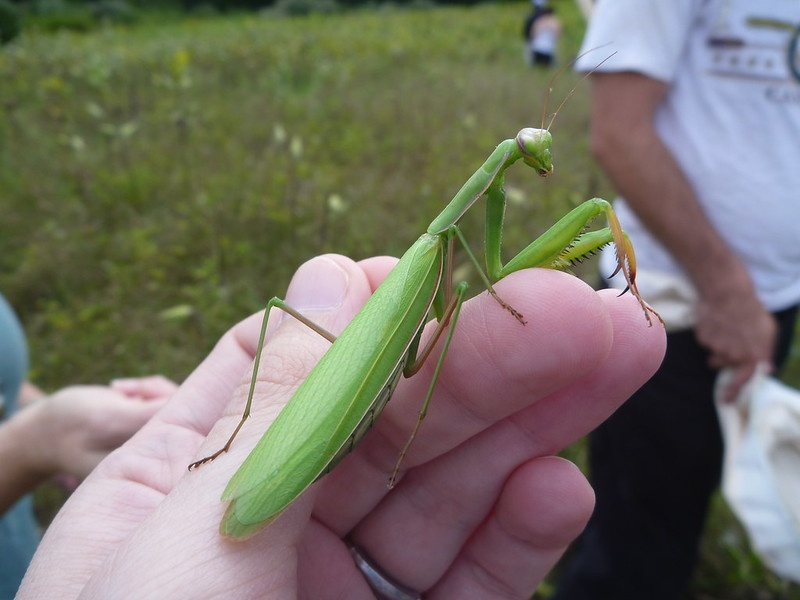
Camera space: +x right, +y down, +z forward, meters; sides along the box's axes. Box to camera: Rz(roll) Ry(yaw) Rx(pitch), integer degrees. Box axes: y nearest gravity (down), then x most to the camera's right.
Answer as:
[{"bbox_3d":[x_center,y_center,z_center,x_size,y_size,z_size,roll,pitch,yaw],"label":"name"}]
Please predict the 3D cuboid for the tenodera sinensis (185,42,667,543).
[{"bbox_3d":[0.020,0.124,2.418,1.420,0.601,0.530,-28,54,-17],"label":"tenodera sinensis"}]
